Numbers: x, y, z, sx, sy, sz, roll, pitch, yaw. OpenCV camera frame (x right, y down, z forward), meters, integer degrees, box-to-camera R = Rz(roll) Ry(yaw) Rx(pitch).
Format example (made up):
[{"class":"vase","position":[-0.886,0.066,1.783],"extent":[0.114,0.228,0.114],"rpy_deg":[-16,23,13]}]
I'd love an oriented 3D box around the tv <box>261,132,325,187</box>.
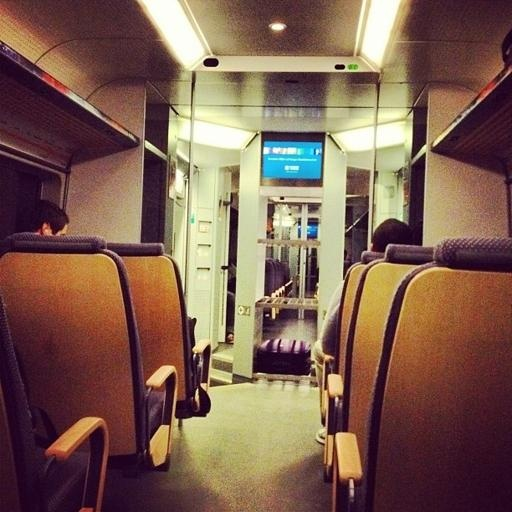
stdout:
[{"class":"tv","position":[0.459,-1.074,5.340],"extent":[0.512,0.497,0.055],"rpy_deg":[1,-3,3]}]
